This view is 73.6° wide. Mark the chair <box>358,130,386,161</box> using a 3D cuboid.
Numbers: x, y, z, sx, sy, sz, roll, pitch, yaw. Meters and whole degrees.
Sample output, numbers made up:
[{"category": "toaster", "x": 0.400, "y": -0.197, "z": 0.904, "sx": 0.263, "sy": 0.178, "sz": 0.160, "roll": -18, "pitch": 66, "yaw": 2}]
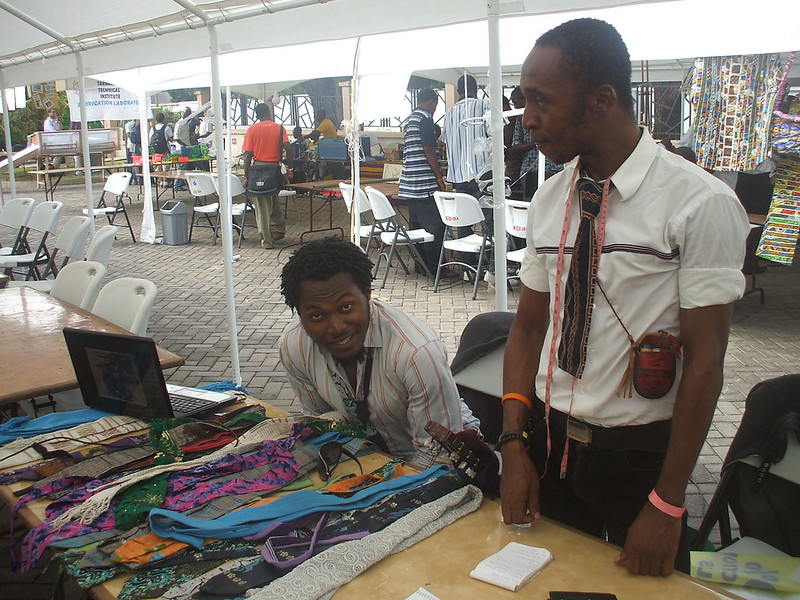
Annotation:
[{"category": "chair", "x": -0.884, "y": -4.925, "z": 17.017, "sx": 0.696, "sy": 0.896, "sz": 2.139, "roll": -3, "pitch": 14, "yaw": -2}]

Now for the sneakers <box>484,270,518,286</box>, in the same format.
[{"category": "sneakers", "x": 1.584, "y": -0.325, "z": 8.311, "sx": 0.478, "sy": 0.157, "sz": 0.299, "roll": 0, "pitch": 11, "yaw": 5}]

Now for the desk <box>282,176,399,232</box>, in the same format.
[{"category": "desk", "x": -1.422, "y": -1.919, "z": 12.243, "sx": 1.371, "sy": 1.194, "sz": 2.439, "roll": -4, "pitch": 13, "yaw": -31}]

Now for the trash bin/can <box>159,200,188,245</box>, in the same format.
[{"category": "trash bin/can", "x": -5.073, "y": -1.708, "z": 12.000, "sx": 0.563, "sy": 0.961, "sz": 0.658, "roll": -7, "pitch": 14, "yaw": -17}]

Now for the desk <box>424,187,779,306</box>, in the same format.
[{"category": "desk", "x": 2.075, "y": -1.079, "z": 7.598, "sx": 2.642, "sy": 1.287, "sz": 2.618, "roll": -4, "pitch": 14, "yaw": -12}]

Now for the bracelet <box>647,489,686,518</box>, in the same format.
[{"category": "bracelet", "x": 0.705, "y": 0.549, "z": 1.428, "sx": 0.082, "sy": 0.028, "sz": 0.068, "roll": 33, "pitch": 0, "yaw": -6}]

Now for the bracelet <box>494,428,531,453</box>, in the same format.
[{"category": "bracelet", "x": 0.376, "y": 0.453, "z": 1.802, "sx": 0.105, "sy": 0.067, "sz": 0.098, "roll": 32, "pitch": -44, "yaw": -32}]

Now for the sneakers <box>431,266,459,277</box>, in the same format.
[{"category": "sneakers", "x": 0.783, "y": -0.454, "z": 8.982, "sx": 0.445, "sy": 0.182, "sz": 0.156, "roll": 1, "pitch": 19, "yaw": 3}]

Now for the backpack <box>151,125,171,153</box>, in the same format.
[{"category": "backpack", "x": -7.902, "y": -5.320, "z": 17.698, "sx": 0.494, "sy": 0.949, "sz": 0.800, "roll": -8, "pitch": 15, "yaw": -21}]

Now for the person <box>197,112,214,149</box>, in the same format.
[{"category": "person", "x": -6.459, "y": -5.679, "z": 17.710, "sx": 0.537, "sy": 1.178, "sz": 1.923, "roll": -8, "pitch": 14, "yaw": -18}]

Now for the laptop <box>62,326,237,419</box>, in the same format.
[{"category": "laptop", "x": -1.191, "y": 0.327, "z": 2.546, "sx": 0.553, "sy": 0.398, "sz": 0.504, "roll": 5, "pitch": 13, "yaw": 29}]
